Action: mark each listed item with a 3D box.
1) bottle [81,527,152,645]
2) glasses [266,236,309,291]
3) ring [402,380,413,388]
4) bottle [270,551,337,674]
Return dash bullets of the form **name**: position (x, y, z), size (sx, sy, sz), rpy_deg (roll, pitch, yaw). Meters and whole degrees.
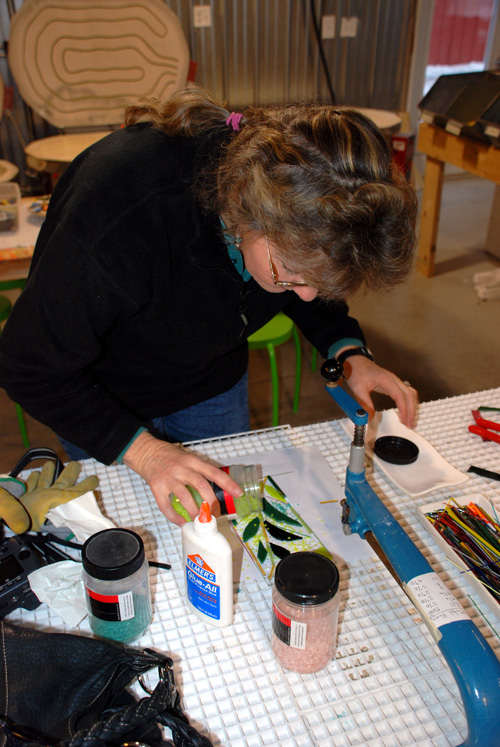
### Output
- **bottle**: position (-0.163, 0.269, 0.744), size (0.079, 0.129, 0.076), rpy_deg (-1, 25, 0)
- **glasses**: position (0.051, -0.147, 0.828), size (0.014, 0.051, 0.049), rpy_deg (-10, -2, 31)
- **ring**: position (0.445, 0.027, 1.694), size (0.021, 0.042, 0.010), rpy_deg (-2, 20, 26)
- **bottle**: position (0.064, 0.281, 0.711), size (0.075, 0.143, 0.077), rpy_deg (1, 31, -1)
